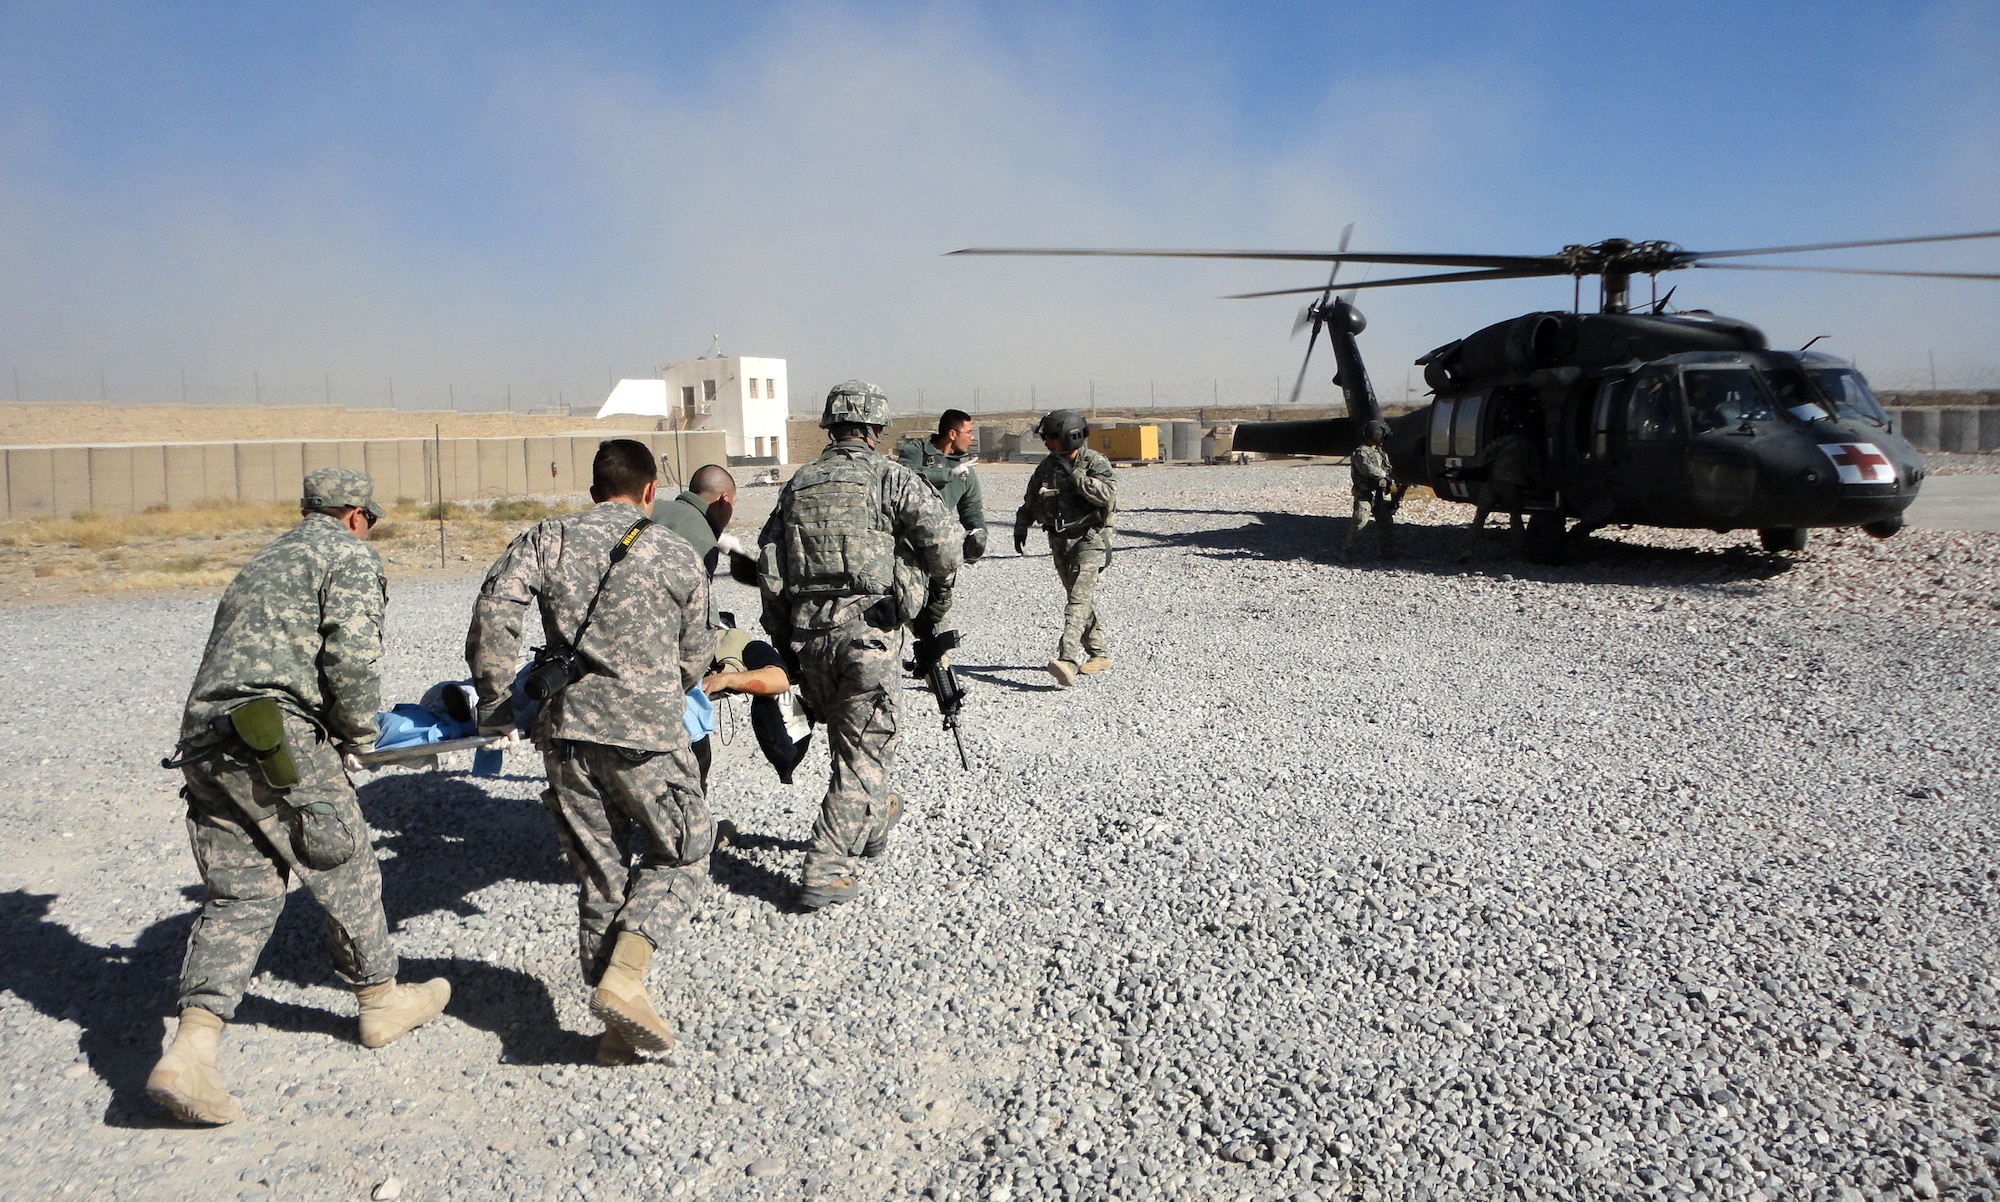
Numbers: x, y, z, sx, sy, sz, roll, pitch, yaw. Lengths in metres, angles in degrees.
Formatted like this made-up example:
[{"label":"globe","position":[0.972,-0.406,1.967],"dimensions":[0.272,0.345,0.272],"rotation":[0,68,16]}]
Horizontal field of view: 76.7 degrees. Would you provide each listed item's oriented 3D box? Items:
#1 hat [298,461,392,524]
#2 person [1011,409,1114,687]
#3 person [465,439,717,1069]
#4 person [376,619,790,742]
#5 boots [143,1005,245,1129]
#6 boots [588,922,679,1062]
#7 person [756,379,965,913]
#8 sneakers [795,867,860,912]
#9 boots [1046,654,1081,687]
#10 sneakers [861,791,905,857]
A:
[{"label":"hat","position":[-2.996,-0.494,5.813],"dimensions":[0.282,0.176,0.362],"rotation":[6,12,16]},{"label":"person","position":[0.501,-0.486,9.771],"dimensions":[0.735,2.036,1.451],"rotation":[-2,14,2]},{"label":"person","position":[-1.872,0.622,5.818],"dimensions":[1.248,2.645,1.541],"rotation":[-1,4,-18]},{"label":"person","position":[-2.075,0.498,6.210],"dimensions":[1.361,0.365,0.920],"rotation":[-4,4,-19]},{"label":"boots","position":[-3.406,1.921,5.272],"dimensions":[0.300,0.476,0.471],"rotation":[-13,18,-36]},{"label":"boots","position":[-1.569,1.684,5.478],"dimensions":[0.229,0.449,0.421],"rotation":[-26,32,21]},{"label":"person","position":[-0.726,0.183,6.449],"dimensions":[1.056,2.511,0.756],"rotation":[-10,17,-27]},{"label":"sneakers","position":[-0.840,1.406,6.304],"dimensions":[0.337,0.220,0.109],"rotation":[-10,17,-30]},{"label":"boots","position":[0.477,0.539,9.416],"dimensions":[0.180,0.144,0.252],"rotation":[-22,2,-22]},{"label":"sneakers","position":[-0.613,1.171,6.553],"dimensions":[0.136,0.368,0.167],"rotation":[18,12,11]}]
